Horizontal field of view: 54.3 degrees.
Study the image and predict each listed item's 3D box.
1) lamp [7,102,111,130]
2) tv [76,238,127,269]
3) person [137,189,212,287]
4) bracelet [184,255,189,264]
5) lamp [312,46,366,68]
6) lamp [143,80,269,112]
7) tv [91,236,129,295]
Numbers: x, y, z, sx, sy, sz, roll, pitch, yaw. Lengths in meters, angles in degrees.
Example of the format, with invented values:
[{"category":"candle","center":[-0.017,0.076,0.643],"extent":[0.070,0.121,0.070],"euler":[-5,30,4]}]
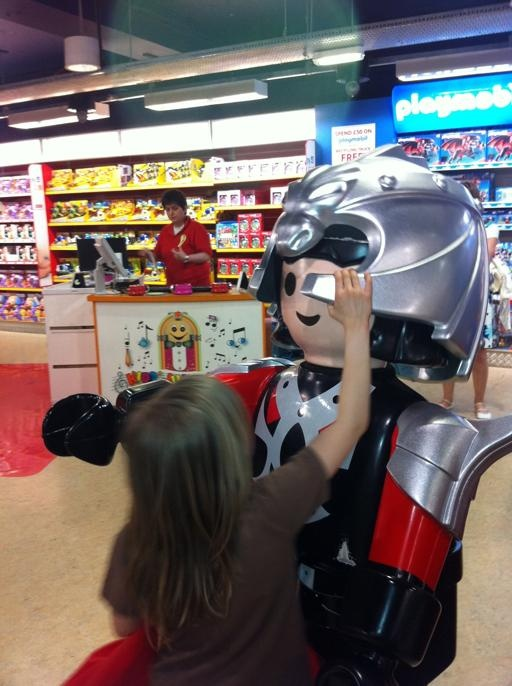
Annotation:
[{"category":"lamp","center":[-2.685,-3.027,6.706],"extent":[1.436,0.180,0.717],"euler":[1,9,21]},{"category":"tv","center":[-1.291,-0.743,4.154],"extent":[0.399,0.269,0.055],"euler":[-5,3,-32]},{"category":"person","center":[-0.637,-0.739,4.191],"extent":[0.494,0.965,0.455],"euler":[4,23,17]},{"category":"bracelet","center":[-0.563,-0.669,4.020],"extent":[0.037,0.047,0.054],"euler":[-2,19,-2]},{"category":"lamp","center":[0.701,-2.568,4.535],"extent":[0.371,0.104,0.509],"euler":[-10,14,-25]},{"category":"lamp","center":[-0.538,-2.809,5.707],"extent":[1.090,0.169,0.174],"euler":[5,-4,29]},{"category":"tv","center":[-1.158,-0.596,3.888],"extent":[0.236,0.405,0.319],"euler":[-6,3,-22]}]
